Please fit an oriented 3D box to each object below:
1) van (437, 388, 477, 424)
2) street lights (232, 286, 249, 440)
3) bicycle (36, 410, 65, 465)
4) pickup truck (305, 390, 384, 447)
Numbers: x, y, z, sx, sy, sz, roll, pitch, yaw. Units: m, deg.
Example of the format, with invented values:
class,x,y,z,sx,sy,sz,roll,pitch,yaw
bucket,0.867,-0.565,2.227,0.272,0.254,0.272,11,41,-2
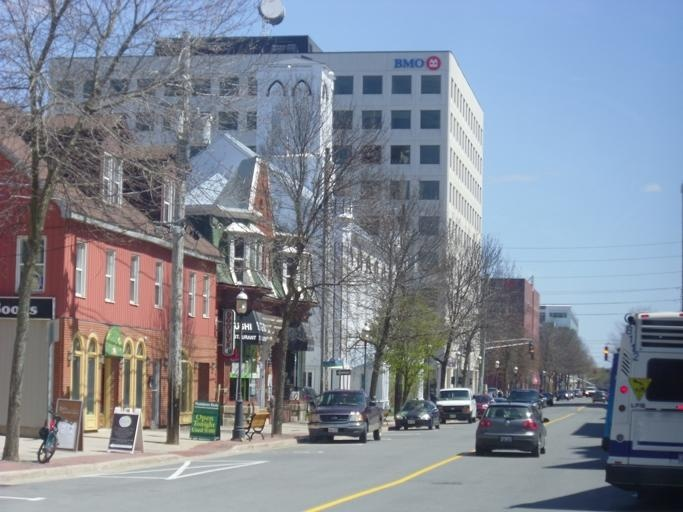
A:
class,x,y,z,sx,sy,sz,roll,pitch,yaw
van,6.168,8.111,71.445,1.806,2.038,2.799,-4,-14,14
street lights,-3.682,4.015,48.950,0.608,5.635,0.840,-1,-5,-8
bicycle,-8.792,5.478,38.995,0.698,0.947,1.524,17,2,4
pickup truck,0.022,6.375,52.890,2.537,2.029,5.096,0,-1,5
